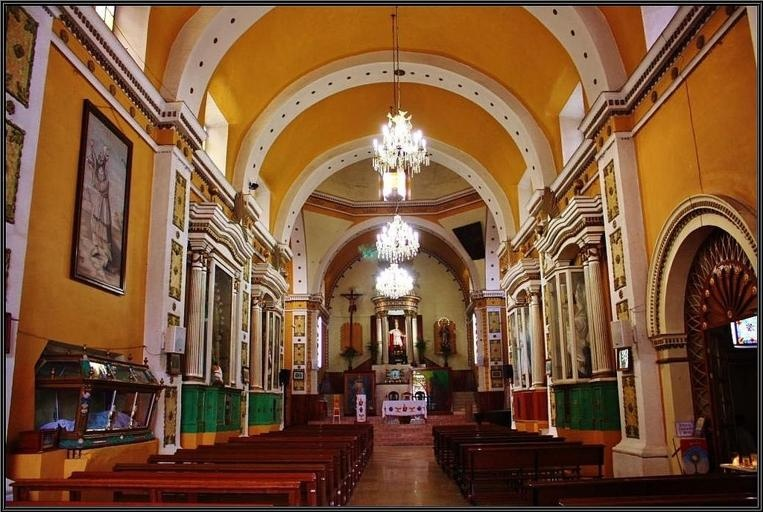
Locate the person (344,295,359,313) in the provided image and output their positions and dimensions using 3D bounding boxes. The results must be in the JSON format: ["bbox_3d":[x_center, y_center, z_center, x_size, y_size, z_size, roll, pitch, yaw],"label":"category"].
[{"bbox_3d":[-1.624,2.620,29.317,0.882,1.085,0.916,0,-9,0],"label":"person"}]

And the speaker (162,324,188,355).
[{"bbox_3d":[-3.922,1.584,9.825,0.194,0.549,0.568,-4,-16,11],"label":"speaker"}]

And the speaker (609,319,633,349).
[{"bbox_3d":[4.410,1.436,9.537,0.241,0.501,0.418,13,-23,-36],"label":"speaker"}]

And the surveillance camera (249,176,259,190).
[{"bbox_3d":[-3.611,-2.016,14.696,0.275,0.199,0.404,-10,-27,-7],"label":"surveillance camera"}]

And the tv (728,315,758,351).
[{"bbox_3d":[5.511,1.176,7.860,0.273,0.403,0.933,-11,-22,27],"label":"tv"}]
